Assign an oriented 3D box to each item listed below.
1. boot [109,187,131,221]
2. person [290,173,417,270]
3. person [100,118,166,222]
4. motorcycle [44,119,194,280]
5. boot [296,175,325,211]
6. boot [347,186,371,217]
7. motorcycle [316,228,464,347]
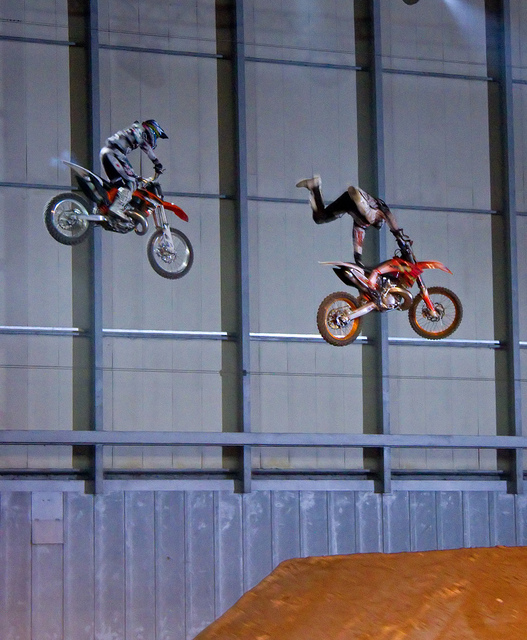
[{"bbox_3d":[-1.786,-1.499,20.196,0.279,0.300,0.227,25,-50,-24],"label":"boot"},{"bbox_3d":[1.147,-1.360,20.853,1.731,0.891,0.980,22,-22,-21],"label":"person"},{"bbox_3d":[-1.718,-1.912,20.455,0.732,1.605,0.616,7,-23,1],"label":"person"},{"bbox_3d":[-1.780,-1.648,20.656,1.993,2.131,0.700,16,-29,-18],"label":"motorcycle"},{"bbox_3d":[0.633,-1.711,20.606,0.294,0.319,0.624,-9,-47,7],"label":"boot"},{"bbox_3d":[1.252,-1.570,20.611,0.135,0.217,0.397,-26,-58,8],"label":"boot"},{"bbox_3d":[1.690,-0.406,21.047,1.978,1.448,0.727,-2,-4,-16],"label":"motorcycle"}]
